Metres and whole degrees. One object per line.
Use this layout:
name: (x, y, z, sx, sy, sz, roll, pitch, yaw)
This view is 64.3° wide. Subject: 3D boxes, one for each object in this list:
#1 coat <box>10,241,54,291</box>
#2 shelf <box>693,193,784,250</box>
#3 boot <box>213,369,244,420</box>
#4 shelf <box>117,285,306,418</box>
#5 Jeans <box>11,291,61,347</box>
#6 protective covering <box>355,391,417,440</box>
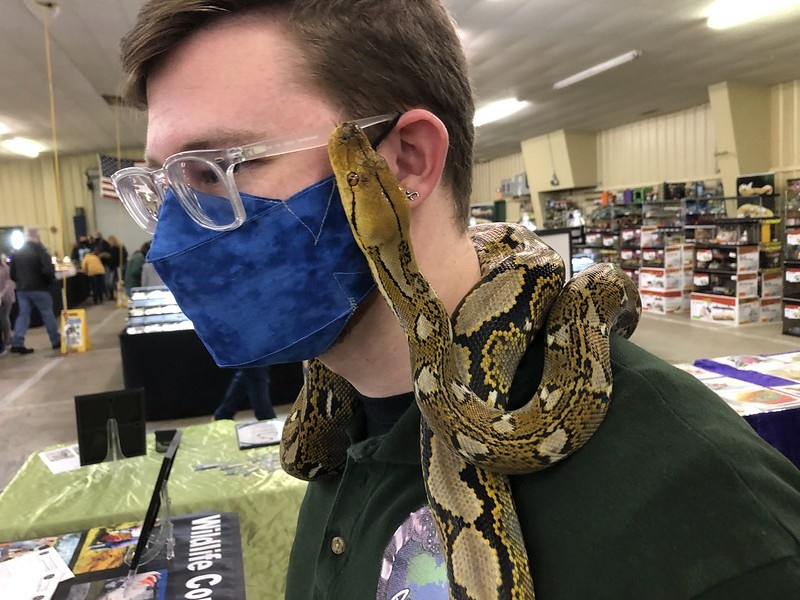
coat: (-7.307, -0.672, 12.750, 0.808, 0.934, 0.515, -3, 3, -6)
shelf: (6.486, -1.471, 12.109, 0.726, 1.170, 1.215, -5, 8, -27)
boot: (-2.002, 1.173, 7.227, 0.291, 1.103, 0.328, 22, 54, -4)
shelf: (-2.980, 0.860, 8.818, 1.824, 1.243, 1.910, -2, 12, -12)
Jeans: (-7.423, 0.412, 12.998, 1.032, 0.559, 1.532, 1, 45, -21)
protective covering: (-0.044, 0.367, 2.148, 0.114, 0.106, 0.141, 13, 32, 14)
